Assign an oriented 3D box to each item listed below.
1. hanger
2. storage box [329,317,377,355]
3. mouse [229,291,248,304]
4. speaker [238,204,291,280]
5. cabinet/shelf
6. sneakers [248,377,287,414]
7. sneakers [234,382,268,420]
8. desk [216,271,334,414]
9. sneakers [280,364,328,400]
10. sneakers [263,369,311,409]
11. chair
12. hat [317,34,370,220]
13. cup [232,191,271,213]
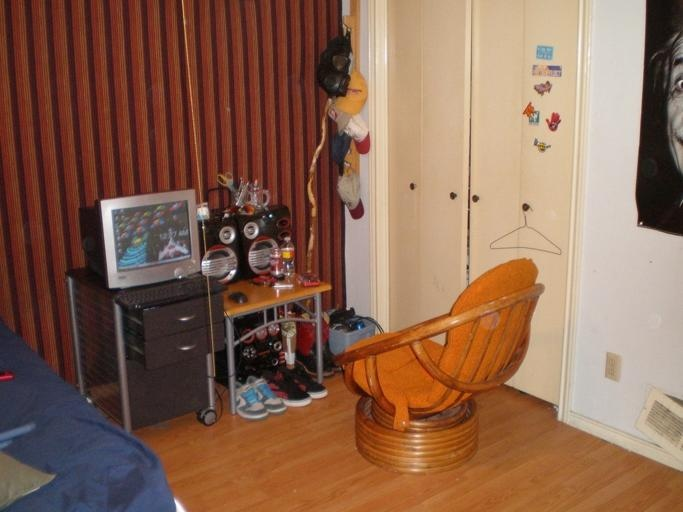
[{"bbox_3d":[1.018,-0.161,3.169,0.394,0.267,0.010,5,-2,35],"label":"hanger"},{"bbox_3d":[0.128,0.532,3.790,0.193,0.146,0.134,-14,23,-19],"label":"storage box"},{"bbox_3d":[-0.564,0.229,3.103,0.101,0.044,0.129,-12,22,-18],"label":"mouse"},{"bbox_3d":[-0.477,-0.068,3.396,0.356,0.424,0.206,-11,17,-43],"label":"speaker"},{"bbox_3d":[-0.978,0.440,3.348,0.679,1.034,0.917,-11,18,-40],"label":"cabinet/shelf"},{"bbox_3d":[-0.424,0.804,3.287,0.102,0.123,0.300,-9,29,-42],"label":"sneakers"},{"bbox_3d":[-0.513,0.819,3.172,0.106,0.093,0.222,-6,20,-34],"label":"sneakers"},{"bbox_3d":[-0.392,0.506,3.360,0.647,0.504,0.530,-10,-2,-25],"label":"desk"},{"bbox_3d":[-0.215,0.760,3.437,0.339,0.142,0.125,28,20,20],"label":"sneakers"},{"bbox_3d":[-0.341,0.767,3.357,0.320,0.136,0.131,19,21,37],"label":"sneakers"},{"bbox_3d":[0.461,0.463,2.782,0.837,1.120,0.991,-14,19,-41],"label":"chair"},{"bbox_3d":[0.027,-0.853,3.827,0.327,1.247,0.259,-5,20,-1],"label":"hat"},{"bbox_3d":[-0.560,-0.322,3.473,0.182,0.133,0.145,1,6,10],"label":"cup"}]
